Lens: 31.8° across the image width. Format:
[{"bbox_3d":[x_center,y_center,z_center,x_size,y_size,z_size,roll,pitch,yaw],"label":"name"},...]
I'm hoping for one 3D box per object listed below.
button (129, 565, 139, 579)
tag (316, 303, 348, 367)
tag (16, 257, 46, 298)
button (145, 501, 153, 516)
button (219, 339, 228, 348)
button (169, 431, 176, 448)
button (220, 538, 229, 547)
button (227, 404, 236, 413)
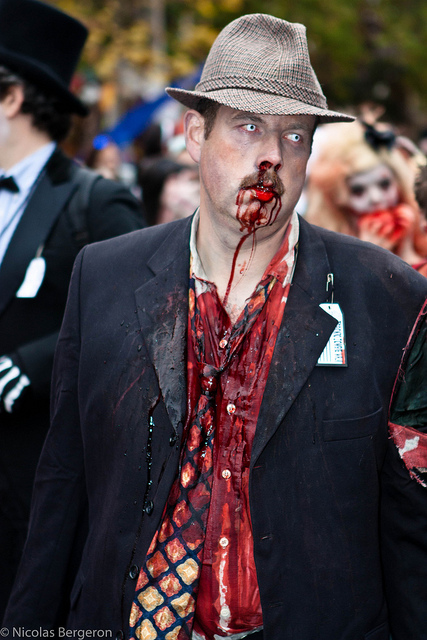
[{"bbox_3d":[-0.219,0.673,2.001,0.029,0.035,0.018,11,26,17],"label":"button"},{"bbox_3d":[0.324,0.040,2.017,0.097,0.147,0.104,-2,18,-7],"label":"tag"},{"bbox_3d":[-0.649,-0.146,2.642,0.067,0.124,0.098,11,25,16],"label":"tag"},{"bbox_3d":[-0.179,0.503,2.009,0.009,0.032,0.026,16,-2,-44],"label":"button"},{"bbox_3d":[0.022,0.068,2.119,0.021,0.020,0.005,12,-4,32],"label":"button"},{"bbox_3d":[-0.116,0.322,2.010,0.025,0.034,0.011,6,-2,36],"label":"button"},{"bbox_3d":[0.023,0.598,2.017,0.021,0.021,0.009,4,24,1],"label":"button"},{"bbox_3d":[0.044,0.240,2.025,0.023,0.019,0.012,3,24,0],"label":"button"}]
